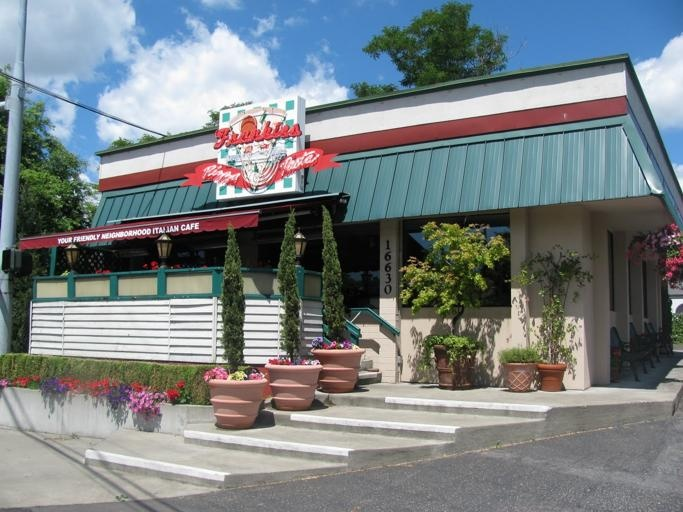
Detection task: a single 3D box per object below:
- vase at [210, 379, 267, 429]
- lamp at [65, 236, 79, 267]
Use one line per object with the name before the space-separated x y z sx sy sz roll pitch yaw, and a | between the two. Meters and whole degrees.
vase | -2.091 3.095 12.608 0.986 0.748 1.030 -2 -18 6
lamp | -7.634 -0.029 17.169 0.354 0.849 0.694 3 -9 -25
